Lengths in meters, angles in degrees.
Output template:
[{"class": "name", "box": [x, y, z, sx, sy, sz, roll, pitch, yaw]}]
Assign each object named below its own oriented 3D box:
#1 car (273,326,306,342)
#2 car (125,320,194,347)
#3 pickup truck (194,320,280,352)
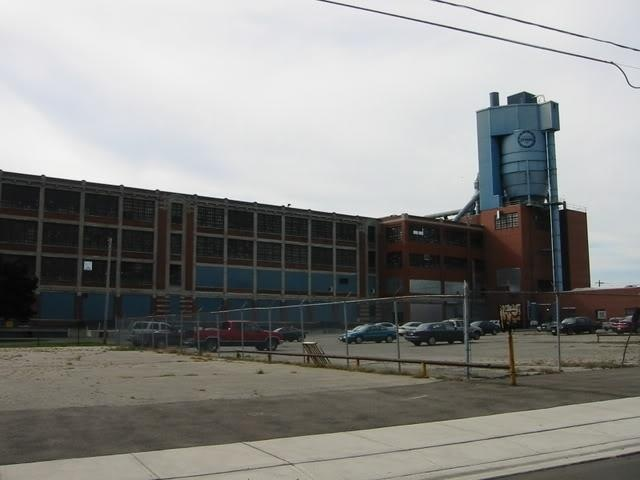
[{"class": "car", "box": [-1.500, 4.711, 32.620, 2.091, 0.562, 0.925, 0, -1, 38]}, {"class": "car", "box": [-10.575, 6.385, 43.405, 2.523, 1.576, 7.151, 4, -8, -38]}, {"class": "pickup truck", "box": [-4.589, 5.254, 37.257, 4.826, 1.303, 1.866, 1, 11, -11]}]
